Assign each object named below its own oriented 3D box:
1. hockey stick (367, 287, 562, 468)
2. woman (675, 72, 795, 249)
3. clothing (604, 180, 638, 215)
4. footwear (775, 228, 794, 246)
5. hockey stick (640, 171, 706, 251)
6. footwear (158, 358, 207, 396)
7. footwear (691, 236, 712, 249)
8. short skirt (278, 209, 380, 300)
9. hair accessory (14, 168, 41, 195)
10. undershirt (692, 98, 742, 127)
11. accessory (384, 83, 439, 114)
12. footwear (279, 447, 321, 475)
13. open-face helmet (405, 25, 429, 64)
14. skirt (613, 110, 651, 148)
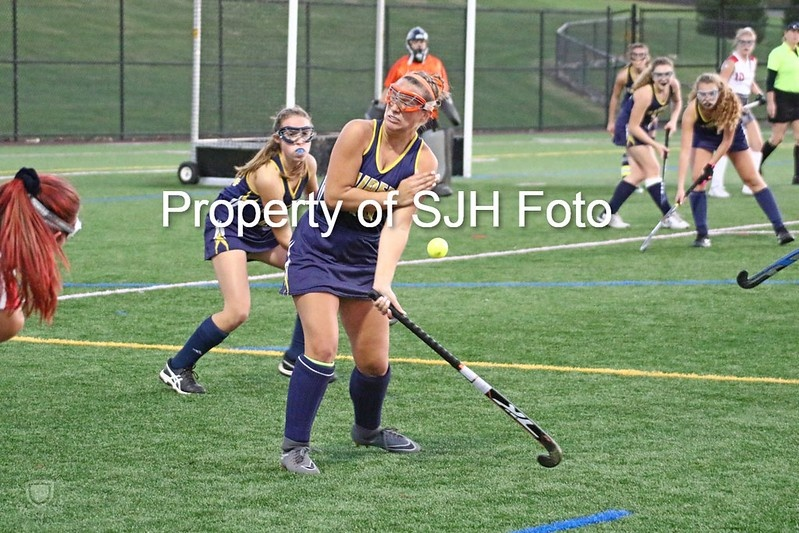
[{"bbox_3d":[0.495,0.876,8.449,1.658,0.272,0.186,39,6,1],"label":"hockey stick"},{"bbox_3d":[3.576,-1.137,12.322,1.253,1.909,1.015,-1,9,-11],"label":"woman"},{"bbox_3d":[2.719,-0.832,13.689,0.225,0.454,0.418,-1,9,-13],"label":"clothing"},{"bbox_3d":[4.225,-0.316,12.336,0.101,0.120,0.251,-20,-5,-6],"label":"footwear"},{"bbox_3d":[3.280,-0.630,13.464,0.158,1.401,0.154,37,3,5],"label":"hockey stick"},{"bbox_3d":[-1.631,0.853,8.559,0.421,0.192,0.175,31,14,3],"label":"footwear"},{"bbox_3d":[3.404,-0.266,12.634,0.198,0.132,0.105,3,1,-2],"label":"footwear"},{"bbox_3d":[-0.432,-0.072,7.475,0.531,0.546,0.316,16,-8,-7],"label":"short skirt"},{"bbox_3d":[-2.280,-0.531,6.945,0.142,0.168,0.059,-9,15,-12],"label":"hair accessory"},{"bbox_3d":[3.415,-1.603,12.051,0.351,0.190,0.391,4,19,-3],"label":"undershirt"},{"bbox_3d":[0.089,-1.093,7.324,0.340,0.178,0.177,0,9,-5],"label":"accessory"},{"bbox_3d":[-0.647,1.276,7.404,0.269,0.116,0.143,2,0,41],"label":"footwear"},{"bbox_3d":[0.273,-3.437,17.275,0.395,0.554,0.553,-2,28,-4],"label":"open-face helmet"},{"bbox_3d":[2.787,-1.683,13.968,0.499,0.609,0.337,5,4,36],"label":"skirt"}]
